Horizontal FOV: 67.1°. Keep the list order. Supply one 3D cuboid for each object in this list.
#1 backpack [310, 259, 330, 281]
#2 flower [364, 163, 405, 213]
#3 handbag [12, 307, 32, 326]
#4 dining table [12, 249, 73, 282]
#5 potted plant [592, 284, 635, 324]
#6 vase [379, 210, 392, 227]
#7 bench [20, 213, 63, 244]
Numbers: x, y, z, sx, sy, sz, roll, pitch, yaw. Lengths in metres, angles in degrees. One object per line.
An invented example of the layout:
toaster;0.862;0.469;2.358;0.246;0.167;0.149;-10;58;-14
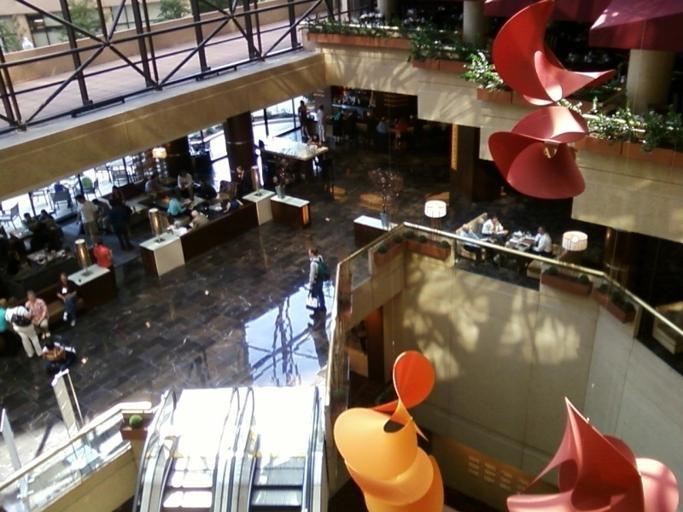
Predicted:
backpack;-0.510;0.313;12.051;0.407;0.553;0.214;-14;28;-20
flower;1.357;-2.040;15.515;1.048;1.864;1.015;7;16;36
handbag;-6.820;1.298;10.999;0.321;0.349;0.192;1;19;-1
dining table;-7.681;0.138;13.193;0.728;0.345;1.435;20;37;38
potted plant;5.715;0.907;10.782;0.217;0.488;1.126;-7;28;-6
vase;1.223;-1.035;14.175;0.283;0.567;0.292;11;26;24
bench;-8.457;-0.811;14.681;0.870;0.329;1.318;-18;48;-44
